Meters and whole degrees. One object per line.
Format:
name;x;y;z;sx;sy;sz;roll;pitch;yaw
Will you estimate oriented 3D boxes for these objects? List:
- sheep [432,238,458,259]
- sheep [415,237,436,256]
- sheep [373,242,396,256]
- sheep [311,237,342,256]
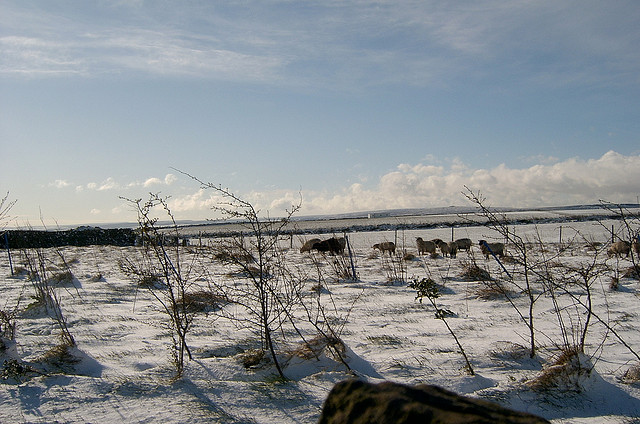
sheep;4.905;1.468;20.561;0.771;0.682;1.761;-8;1;5
sheep;4.278;1.400;21.289;0.700;0.653;0.926;-8;2;-1
sheep;2.636;1.480;21.446;0.693;0.478;0.976;-8;2;-8
sheep;0.379;1.379;21.609;1.812;0.847;0.508;-2;-13;24
